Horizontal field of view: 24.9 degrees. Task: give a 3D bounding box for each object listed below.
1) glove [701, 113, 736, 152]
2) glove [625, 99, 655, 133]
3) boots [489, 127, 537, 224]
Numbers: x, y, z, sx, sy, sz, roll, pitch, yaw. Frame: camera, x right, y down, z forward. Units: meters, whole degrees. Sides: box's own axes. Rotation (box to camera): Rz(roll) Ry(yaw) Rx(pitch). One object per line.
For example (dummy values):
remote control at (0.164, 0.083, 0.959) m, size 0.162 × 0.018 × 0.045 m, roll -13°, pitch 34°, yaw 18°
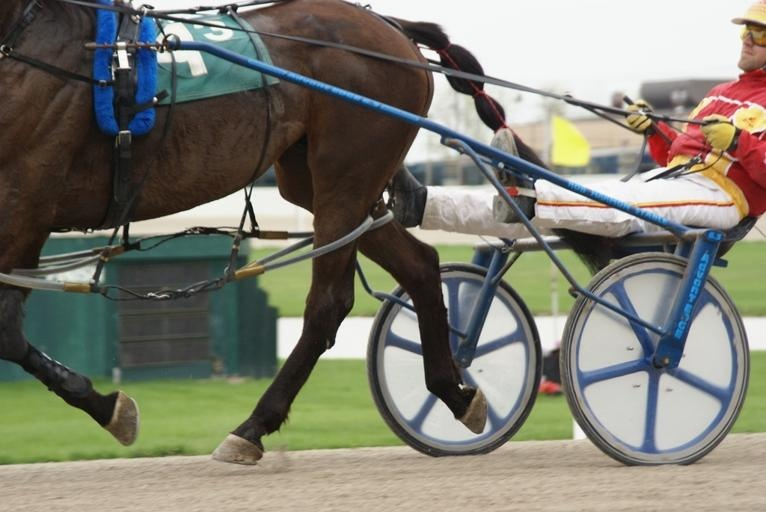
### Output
glove at (1.703, -0.618, 8.748) m, size 0.172 × 0.181 × 0.093 m, roll 0°, pitch -4°, yaw 5°
glove at (1.379, -0.752, 9.257) m, size 0.164 × 0.151 × 0.192 m, roll 2°, pitch -5°, yaw -10°
boots at (0.649, -0.397, 8.781) m, size 0.170 × 0.429 × 0.282 m, roll -11°, pitch 14°, yaw -25°
